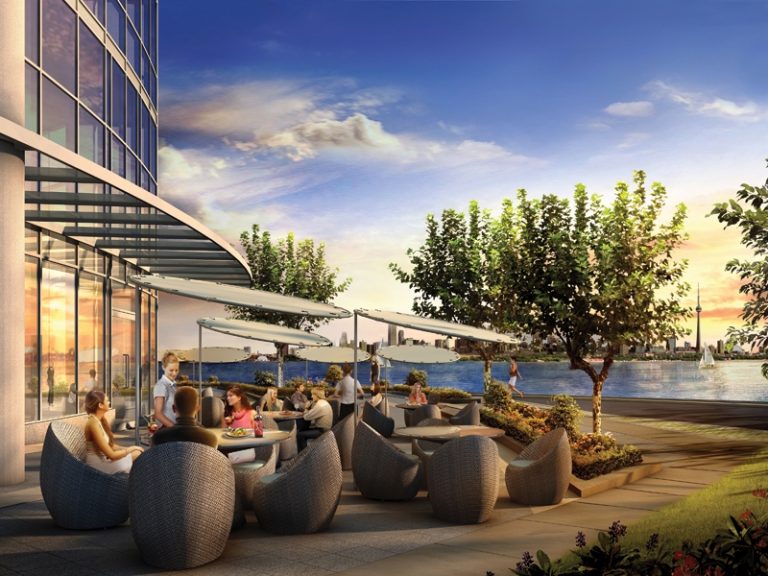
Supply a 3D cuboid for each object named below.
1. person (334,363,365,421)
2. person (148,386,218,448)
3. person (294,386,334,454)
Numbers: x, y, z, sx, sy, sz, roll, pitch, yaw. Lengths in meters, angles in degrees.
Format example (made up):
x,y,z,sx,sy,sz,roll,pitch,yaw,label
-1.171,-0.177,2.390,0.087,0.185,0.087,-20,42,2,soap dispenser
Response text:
x,y,z,sx,sy,sz,roll,pitch,yaw,label
-0.876,2.818,16.146,0.679,1.857,0.558,-2,15,-6,person
-2.465,1.637,8.109,0.860,0.775,0.438,0,-4,-8,person
-1.471,2.795,13.454,0.896,1.471,0.662,-4,-9,20,person
